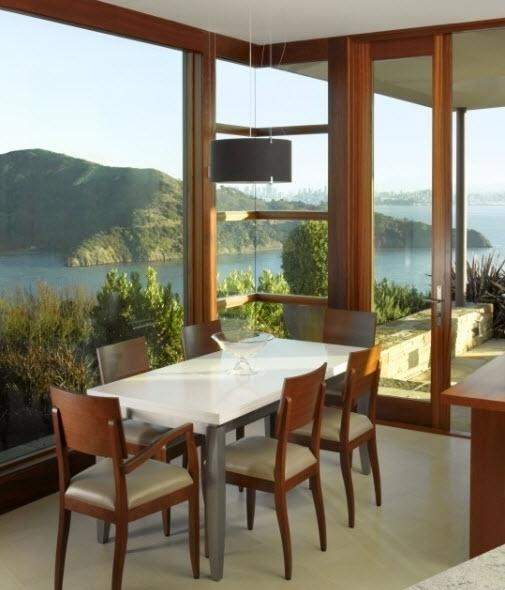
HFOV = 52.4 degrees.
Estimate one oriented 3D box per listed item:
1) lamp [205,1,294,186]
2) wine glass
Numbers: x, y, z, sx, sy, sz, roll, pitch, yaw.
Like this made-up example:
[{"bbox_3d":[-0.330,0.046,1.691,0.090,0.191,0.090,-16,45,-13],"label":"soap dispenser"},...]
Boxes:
[{"bbox_3d":[0.017,-0.797,2.719,0.265,0.774,0.316,4,6,43],"label":"lamp"},{"bbox_3d":[-0.068,0.324,2.835,0.312,0.232,0.368,-8,-22,-4],"label":"wine glass"}]
